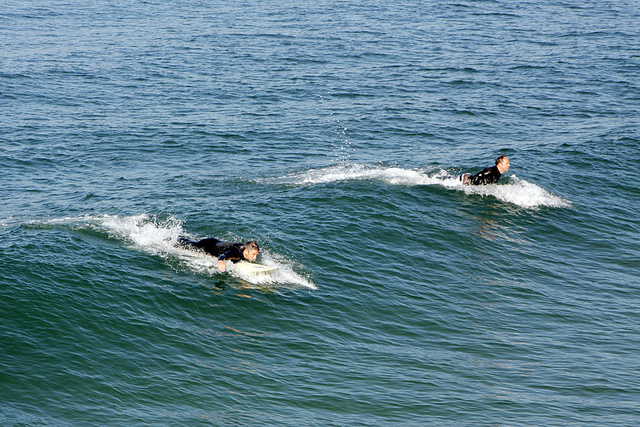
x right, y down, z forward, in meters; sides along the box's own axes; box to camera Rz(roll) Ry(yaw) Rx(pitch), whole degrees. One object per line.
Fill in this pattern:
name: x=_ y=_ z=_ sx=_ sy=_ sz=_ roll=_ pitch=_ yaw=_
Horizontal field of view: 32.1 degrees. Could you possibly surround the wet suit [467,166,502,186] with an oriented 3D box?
wet suit: x=8.461 y=-1.895 z=56.717 sx=1.554 sy=1.015 sz=0.403 roll=-13 pitch=95 yaw=5
